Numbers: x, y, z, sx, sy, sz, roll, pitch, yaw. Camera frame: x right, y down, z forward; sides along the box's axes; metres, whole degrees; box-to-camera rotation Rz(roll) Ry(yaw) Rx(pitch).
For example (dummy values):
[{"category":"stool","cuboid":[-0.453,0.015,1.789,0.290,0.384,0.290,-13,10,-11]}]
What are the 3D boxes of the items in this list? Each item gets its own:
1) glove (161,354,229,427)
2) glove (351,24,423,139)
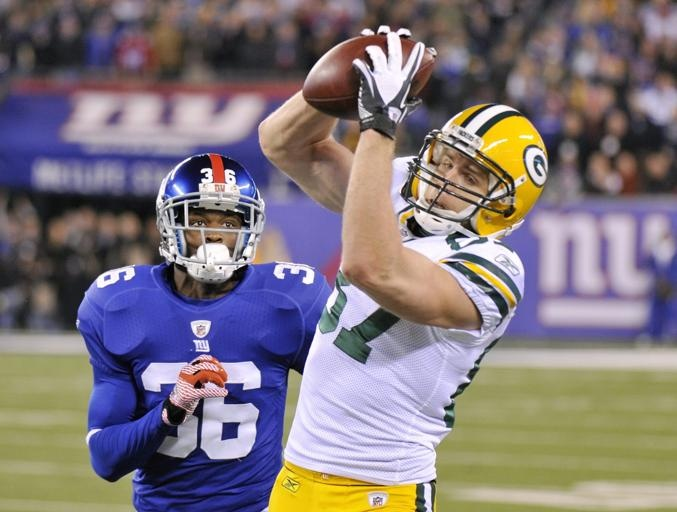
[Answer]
[{"category":"glove","cuboid":[-0.862,0.825,7.050,0.236,0.334,0.280,31,8,-24]},{"category":"glove","cuboid":[0.280,-0.967,6.839,0.440,0.587,0.202,3,-20,-4]}]
